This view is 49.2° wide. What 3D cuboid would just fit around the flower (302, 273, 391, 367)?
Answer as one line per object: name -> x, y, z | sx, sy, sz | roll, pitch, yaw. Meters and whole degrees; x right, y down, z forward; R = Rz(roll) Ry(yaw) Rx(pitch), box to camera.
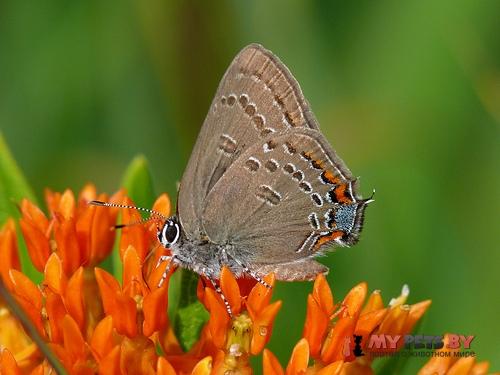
flower -> 0.257, 0.367, 1.480 | 0.133, 0.251, 0.166 | 22, 14, -2
